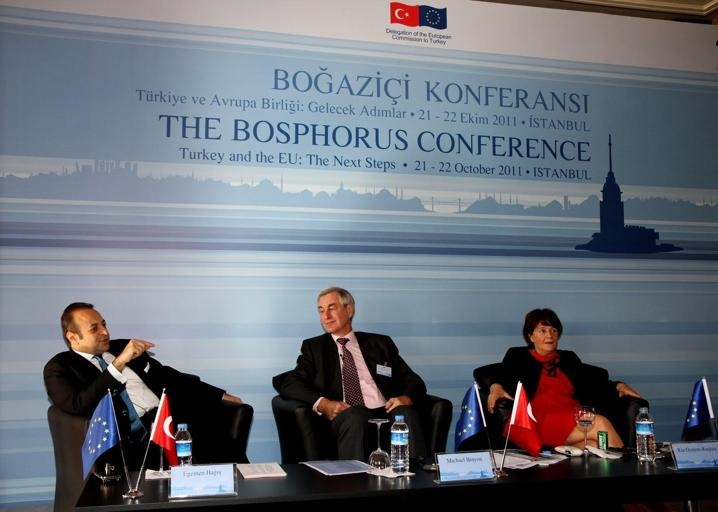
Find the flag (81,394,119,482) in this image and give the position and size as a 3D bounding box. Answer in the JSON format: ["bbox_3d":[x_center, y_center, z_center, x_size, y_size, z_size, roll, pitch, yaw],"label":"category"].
[{"bbox_3d":[-1.407,1.007,3.807,0.184,0.509,0.211,-1,8,-18],"label":"flag"}]
